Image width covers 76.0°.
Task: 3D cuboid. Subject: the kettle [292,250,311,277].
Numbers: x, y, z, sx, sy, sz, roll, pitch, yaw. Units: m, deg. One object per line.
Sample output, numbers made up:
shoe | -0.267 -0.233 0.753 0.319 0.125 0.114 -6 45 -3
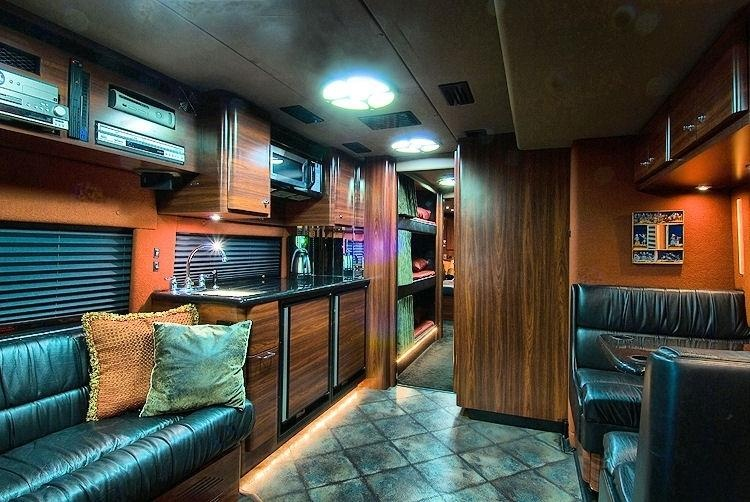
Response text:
kettle | -0.772 0.112 5.030 0.202 0.279 0.086 -9 16 -38

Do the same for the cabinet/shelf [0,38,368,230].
cabinet/shelf | -1.226 -0.675 3.974 0.726 1.337 3.005 9 14 34

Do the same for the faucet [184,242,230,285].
faucet | -1.426 0.059 4.148 0.409 0.505 0.272 -1 1 -19

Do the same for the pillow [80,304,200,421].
pillow | -1.571 0.774 3.172 0.247 0.626 0.722 -13 -12 41

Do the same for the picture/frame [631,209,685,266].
picture/frame | 2.264 -0.114 3.805 0.490 0.568 0.073 -1 -4 29

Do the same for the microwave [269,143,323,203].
microwave | -0.707 -0.695 4.305 0.369 0.264 0.541 -3 -8 22
